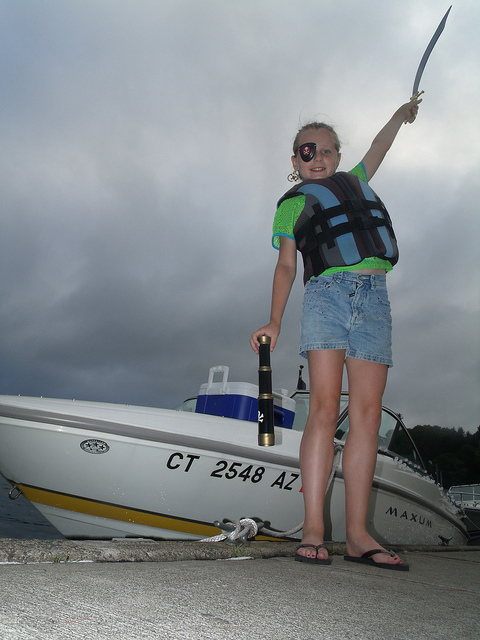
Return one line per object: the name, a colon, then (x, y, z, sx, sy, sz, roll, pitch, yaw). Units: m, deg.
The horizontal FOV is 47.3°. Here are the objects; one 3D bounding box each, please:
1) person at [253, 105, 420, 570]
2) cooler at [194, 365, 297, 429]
person: (0.460, -0.162, 2.435, 0.949, 2.306, 0.426, 1, -14, 2)
cooler: (0.072, 0.582, 4.330, 0.813, 0.494, 0.616, 3, -11, -4)
